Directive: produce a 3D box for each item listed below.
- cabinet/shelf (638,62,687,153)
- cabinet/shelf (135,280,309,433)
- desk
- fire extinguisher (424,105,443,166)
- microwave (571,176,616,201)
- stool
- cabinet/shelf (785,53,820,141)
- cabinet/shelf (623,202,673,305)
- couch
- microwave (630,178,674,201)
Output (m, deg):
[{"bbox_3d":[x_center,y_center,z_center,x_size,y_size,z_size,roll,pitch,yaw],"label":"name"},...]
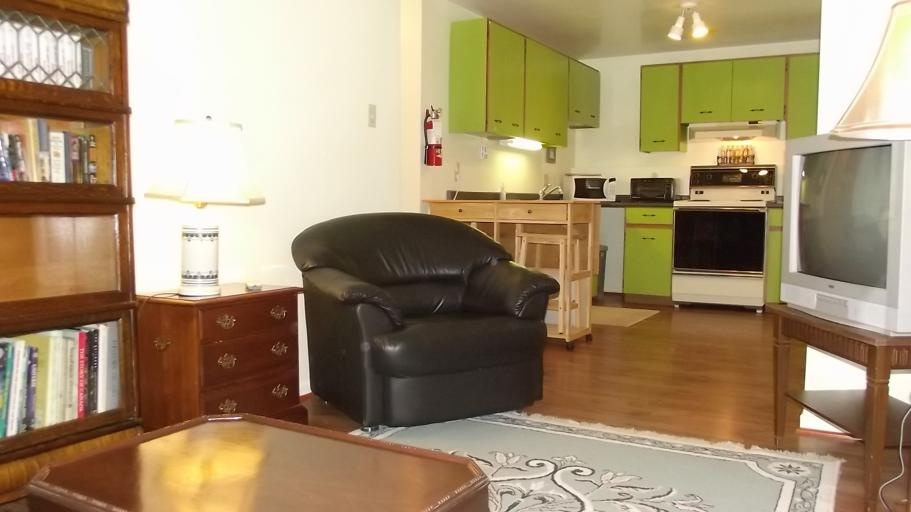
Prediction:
[{"bbox_3d":[2.554,-1.840,7.862,0.511,1.051,0.154,3,14,13],"label":"cabinet/shelf"},{"bbox_3d":[-1.451,0.688,3.928,0.630,0.790,0.897,-2,-2,26],"label":"cabinet/shelf"},{"bbox_3d":[0.496,0.001,5.811,1.380,1.048,0.496,4,11,28],"label":"desk"},{"bbox_3d":[-0.211,-1.119,5.913,0.154,0.545,0.339,0,13,-3],"label":"fire extinguisher"},{"bbox_3d":[1.710,-0.840,7.914,0.678,0.320,0.486,1,3,6],"label":"microwave"},{"bbox_3d":[0.833,0.266,5.754,0.648,0.986,0.592,2,3,27],"label":"stool"},{"bbox_3d":[3.998,-1.845,7.280,0.322,0.942,0.293,1,13,2],"label":"cabinet/shelf"},{"bbox_3d":[2.321,-0.017,7.577,0.565,1.154,0.296,2,14,9],"label":"cabinet/shelf"},{"bbox_3d":[-0.314,0.399,4.412,1.661,1.163,1.505,-1,0,-31],"label":"couch"},{"bbox_3d":[2.472,-0.827,7.927,0.515,0.283,0.203,4,13,17],"label":"microwave"}]
